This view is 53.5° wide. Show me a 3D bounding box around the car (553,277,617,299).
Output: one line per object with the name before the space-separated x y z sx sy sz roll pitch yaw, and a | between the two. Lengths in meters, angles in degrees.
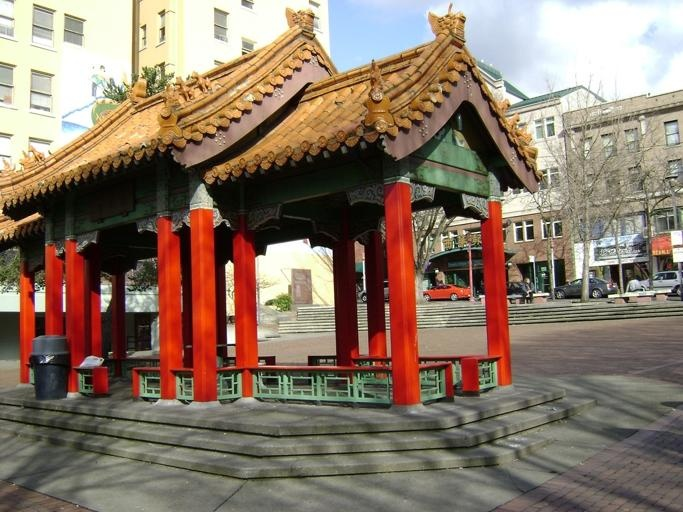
car | 16.094 2.115 44.527 1.261 0.969 2.806 1 -1 -40

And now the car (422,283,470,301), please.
car | 7.543 2.702 48.925 3.386 1.078 1.426 3 2 39

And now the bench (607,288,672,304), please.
bench | 15.636 2.230 35.985 2.639 0.717 4.699 -1 1 41

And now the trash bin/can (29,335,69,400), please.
trash bin/can | -6.673 2.515 15.582 0.845 1.380 0.897 -5 -6 19

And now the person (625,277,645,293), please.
person | 19.363 1.900 44.593 0.818 1.215 0.988 0 -11 2

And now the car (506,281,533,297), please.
car | 11.805 2.278 44.683 2.105 0.755 0.988 3 1 30
